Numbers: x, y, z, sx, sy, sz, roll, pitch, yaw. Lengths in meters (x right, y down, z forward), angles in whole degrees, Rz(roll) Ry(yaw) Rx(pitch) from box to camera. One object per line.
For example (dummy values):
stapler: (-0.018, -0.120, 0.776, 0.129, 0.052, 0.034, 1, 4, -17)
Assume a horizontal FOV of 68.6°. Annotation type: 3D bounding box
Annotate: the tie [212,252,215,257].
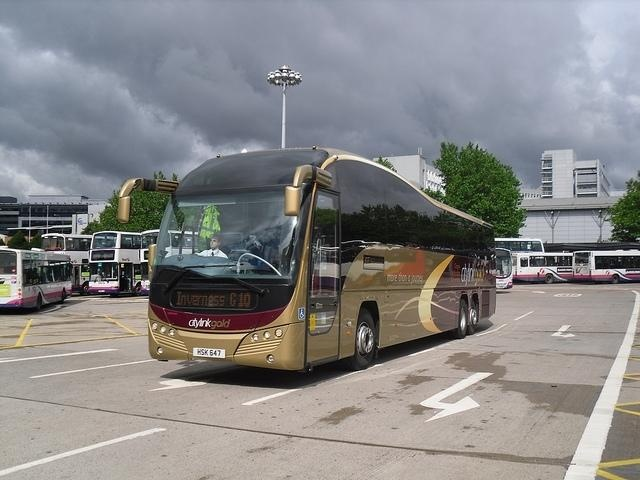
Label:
tie: (-1.983, 0.260, 8.658, 0.072, 0.081, 0.010, 3, 1, 2)
